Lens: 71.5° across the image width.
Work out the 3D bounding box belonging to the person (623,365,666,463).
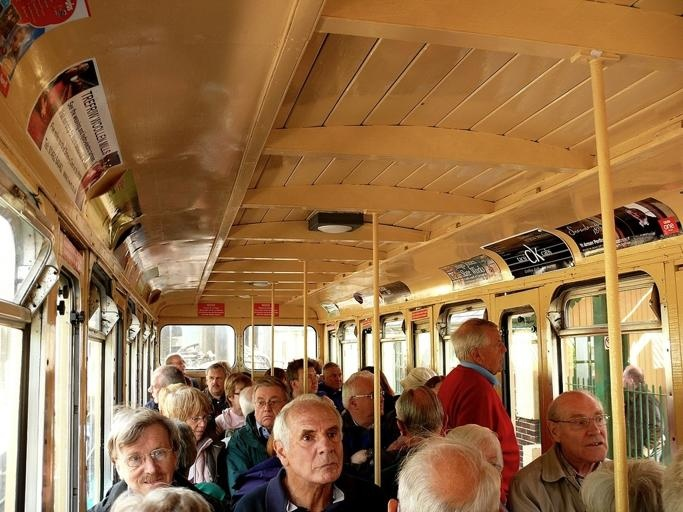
[{"bbox_3d":[3.130,1.617,4.951,0.154,0.934,0.500,-5,-10,-3],"label":"person"}]

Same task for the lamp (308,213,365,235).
[{"bbox_3d":[-0.067,-0.476,6.736,0.421,0.218,0.426,1,-9,-12],"label":"lamp"}]

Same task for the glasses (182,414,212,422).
[{"bbox_3d":[-1.410,1.589,4.667,0.158,0.039,0.146,-9,-12,24],"label":"glasses"}]

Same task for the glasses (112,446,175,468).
[{"bbox_3d":[-1.231,1.265,2.997,0.288,0.104,0.064,-1,-10,-20],"label":"glasses"}]

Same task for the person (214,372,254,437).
[{"bbox_3d":[-1.469,2.058,6.499,0.381,0.732,0.816,-11,-16,27],"label":"person"}]
